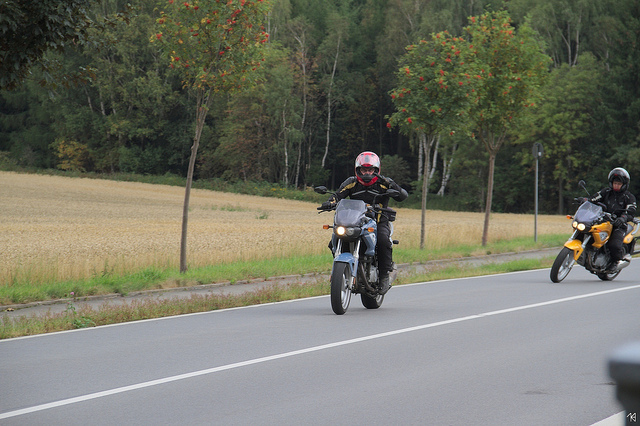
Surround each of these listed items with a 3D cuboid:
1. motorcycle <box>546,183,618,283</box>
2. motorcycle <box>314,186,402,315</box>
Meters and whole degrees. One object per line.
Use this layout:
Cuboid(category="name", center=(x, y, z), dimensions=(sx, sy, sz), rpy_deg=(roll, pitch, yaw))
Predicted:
Cuboid(category="motorcycle", center=(6.703, 0.695, 17.918), dimensions=(1.721, 2.202, 0.942), rpy_deg=(-2, 4, -24))
Cuboid(category="motorcycle", center=(0.747, 0.798, 14.231), dimensions=(1.099, 2.614, 1.785), rpy_deg=(3, 5, 35))
